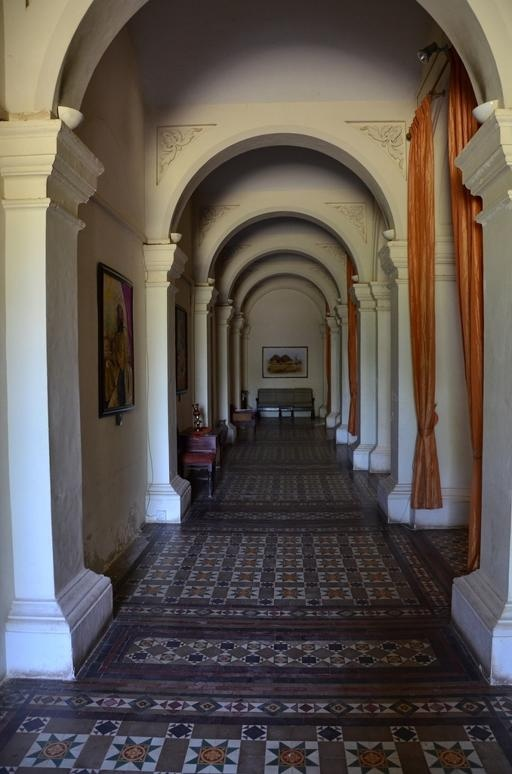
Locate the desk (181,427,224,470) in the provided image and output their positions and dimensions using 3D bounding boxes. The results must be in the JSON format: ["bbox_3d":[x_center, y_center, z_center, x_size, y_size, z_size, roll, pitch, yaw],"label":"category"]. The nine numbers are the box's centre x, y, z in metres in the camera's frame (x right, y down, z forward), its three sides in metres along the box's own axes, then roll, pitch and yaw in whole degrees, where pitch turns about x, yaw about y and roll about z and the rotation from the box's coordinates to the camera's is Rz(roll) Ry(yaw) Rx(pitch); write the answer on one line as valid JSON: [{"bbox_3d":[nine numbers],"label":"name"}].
[{"bbox_3d":[-0.792,0.996,7.788,0.440,0.659,1.870,0,-2,-1],"label":"desk"}]

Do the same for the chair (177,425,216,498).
[{"bbox_3d":[-0.840,1.276,7.787,0.482,0.962,1.663,0,-8,-2],"label":"chair"}]
